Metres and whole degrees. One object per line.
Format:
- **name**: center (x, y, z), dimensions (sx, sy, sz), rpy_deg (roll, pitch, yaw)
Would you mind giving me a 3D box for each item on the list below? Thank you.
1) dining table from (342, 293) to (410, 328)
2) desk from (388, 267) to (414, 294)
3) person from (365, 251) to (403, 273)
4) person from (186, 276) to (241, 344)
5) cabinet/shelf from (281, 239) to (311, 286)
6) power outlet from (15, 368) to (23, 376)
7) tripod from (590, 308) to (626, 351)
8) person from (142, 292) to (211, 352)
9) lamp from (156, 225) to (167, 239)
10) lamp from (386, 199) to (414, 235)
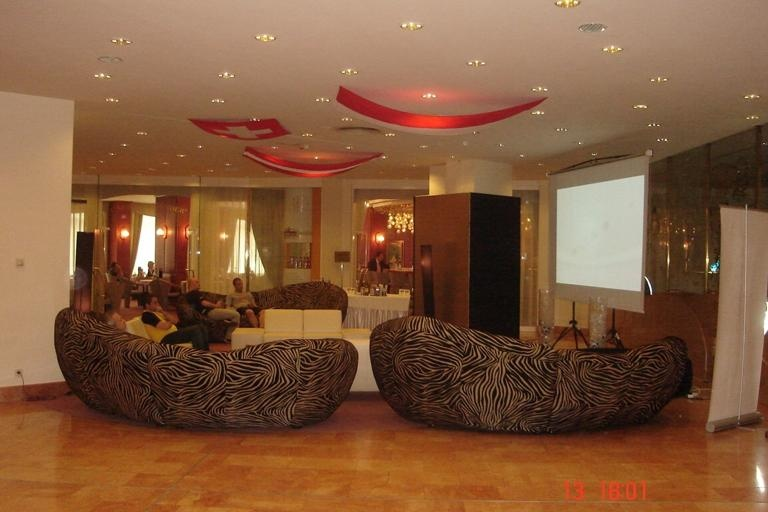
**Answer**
- **dining table**: center (-0.563, 1.227, 13.258), dimensions (1.125, 0.789, 1.811), rpy_deg (-5, -8, 41)
- **desk**: center (0.361, 0.607, 14.295), dimensions (0.545, 0.444, 1.066), rpy_deg (1, 10, 0)
- **person**: center (-0.324, 0.195, 17.824), dimensions (0.610, 0.475, 1.055), rpy_deg (2, -4, -37)
- **person**: center (-3.730, 1.062, 12.982), dimensions (1.436, 1.426, 1.145), rpy_deg (2, 22, -5)
- **cabinet/shelf**: center (-2.337, 0.159, 16.137), dimensions (0.728, 1.158, 0.328), rpy_deg (0, 12, -6)
- **power outlet**: center (-5.171, 1.649, 8.575), dimensions (0.085, 0.080, 0.025), rpy_deg (39, -23, -25)
- **tripod**: center (4.567, 1.427, 12.137), dimensions (0.570, 0.740, 0.694), rpy_deg (16, -16, -30)
- **person**: center (-3.144, 1.112, 9.196), dimensions (0.965, 1.062, 0.499), rpy_deg (-6, 4, -5)
- **lamp**: center (-5.954, -0.621, 16.164), dimensions (0.292, 0.336, 0.112), rpy_deg (-2, 12, -13)
- **lamp**: center (0.477, -1.270, 19.535), dimensions (1.010, 0.908, 1.001), rpy_deg (-2, -5, 39)
